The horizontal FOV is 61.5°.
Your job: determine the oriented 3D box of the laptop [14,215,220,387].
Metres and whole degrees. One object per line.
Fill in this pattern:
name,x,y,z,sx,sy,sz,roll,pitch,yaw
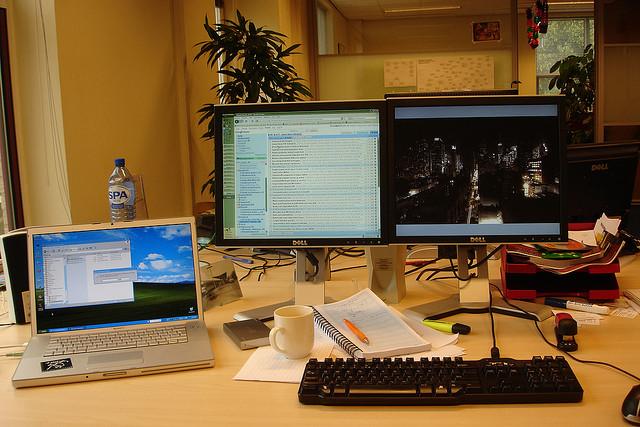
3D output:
laptop,-0.653,0.261,1.736,0.576,0.358,0.425,-2,12,-20

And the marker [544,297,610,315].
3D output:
marker,0.944,0.338,1.962,0.188,0.033,0.032,6,12,34

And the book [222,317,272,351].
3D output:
book,-0.244,0.411,1.853,0.096,0.027,0.136,-4,16,-25

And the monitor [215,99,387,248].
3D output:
monitor,-0.048,-0.158,1.959,0.540,0.446,0.043,0,1,3

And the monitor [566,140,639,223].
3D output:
monitor,1.209,-0.140,2.308,0.324,0.325,0.114,-4,17,0

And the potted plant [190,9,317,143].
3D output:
potted plant,-0.468,-0.901,3.828,0.630,0.787,0.538,7,-9,-37

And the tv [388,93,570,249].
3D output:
tv,0.577,-0.161,1.921,0.538,0.428,0.024,-1,1,2

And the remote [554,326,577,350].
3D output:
remote,0.804,0.406,1.741,0.059,0.062,0.038,1,8,27

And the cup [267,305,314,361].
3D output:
cup,-0.094,0.404,1.743,0.131,0.152,0.208,-2,11,18

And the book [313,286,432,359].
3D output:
book,0.166,0.380,1.858,0.275,0.129,0.386,-6,8,-27

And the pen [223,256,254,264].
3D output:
pen,-0.381,0.215,2.500,0.162,0.018,0.019,11,37,34

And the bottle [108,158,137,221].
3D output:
bottle,-0.897,-0.102,2.440,0.106,0.292,0.299,-5,7,-19

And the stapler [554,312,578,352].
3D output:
stapler,0.792,0.388,1.747,0.043,0.063,0.163,-2,11,15
